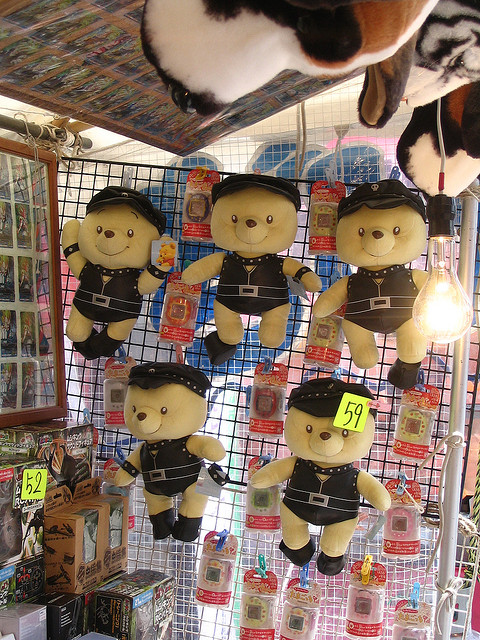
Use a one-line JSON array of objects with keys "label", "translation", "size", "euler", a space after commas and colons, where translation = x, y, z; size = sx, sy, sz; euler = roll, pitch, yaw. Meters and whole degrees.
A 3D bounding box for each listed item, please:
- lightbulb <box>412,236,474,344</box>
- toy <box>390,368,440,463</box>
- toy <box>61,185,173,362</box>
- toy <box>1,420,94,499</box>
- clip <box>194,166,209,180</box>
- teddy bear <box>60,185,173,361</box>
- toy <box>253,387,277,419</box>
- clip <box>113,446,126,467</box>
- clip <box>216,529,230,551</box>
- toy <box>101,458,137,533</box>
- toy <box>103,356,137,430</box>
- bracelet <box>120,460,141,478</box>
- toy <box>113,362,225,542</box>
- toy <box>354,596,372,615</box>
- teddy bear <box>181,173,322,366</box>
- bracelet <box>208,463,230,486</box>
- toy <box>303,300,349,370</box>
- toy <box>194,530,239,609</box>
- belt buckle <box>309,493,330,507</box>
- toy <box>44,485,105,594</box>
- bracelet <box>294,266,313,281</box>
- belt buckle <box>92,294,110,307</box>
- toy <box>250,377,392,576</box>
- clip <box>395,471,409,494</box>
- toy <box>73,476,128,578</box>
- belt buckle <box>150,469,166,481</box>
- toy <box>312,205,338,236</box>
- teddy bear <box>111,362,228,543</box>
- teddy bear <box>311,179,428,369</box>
[{"label": "lightbulb", "translation": [0.329, -0.046, 0.919], "size": [0.101, 0.187, 0.110], "euler": [2, 16, 15]}, {"label": "toy", "translation": [0.486, 0.268, 1.458], "size": [0.107, 0.255, 0.030], "euler": [8, -4, 44]}, {"label": "toy", "translation": [-0.372, -0.117, 1.566], "size": [0.344, 0.512, 0.208], "euler": [13, 4, 10]}, {"label": "toy", "translation": [-0.487, 0.351, 1.442], "size": [0.211, 0.174, 0.233], "euler": [6, 11, 24]}, {"label": "clip", "translation": [-0.113, -0.441, 1.596], "size": [0.045, 0.042, 0.014], "euler": [5, -8, 8]}, {"label": "teddy bear", "translation": [-0.372, -0.142, 1.561], "size": [0.379, 0.472, 0.202], "euler": [-13, -8, 25]}, {"label": "toy", "translation": [0.067, 0.238, 1.493], "size": [0.070, 0.076, 0.019], "euler": [0, -8, 14]}, {"label": "clip", "translation": [-0.373, 0.425, 1.655], "size": [0.019, 0.052, 0.043], "euler": [-11, 0, 5]}, {"label": "clip", "translation": [-0.051, 0.629, 1.524], "size": [0.018, 0.065, 0.025], "euler": [11, -32, 19]}, {"label": "toy", "translation": [-0.379, 0.534, 1.620], "size": [0.098, 0.220, 0.038], "euler": [9, -35, -31]}, {"label": "toy", "translation": [-0.372, 0.220, 1.679], "size": [0.087, 0.225, 0.108], "euler": [-15, 21, -42]}, {"label": "bracelet", "translation": [-0.312, 0.427, 1.522], "size": [0.050, 0.020, 0.040], "euler": [35, -4, 17]}, {"label": "toy", "translation": [-0.139, 0.348, 1.558], "size": [0.321, 0.486, 0.401], "euler": [-4, 16, 4]}, {"label": "toy", "translation": [0.327, 0.756, 1.403], "size": [0.050, 0.044, 0.025], "euler": [2, -11, 16]}, {"label": "teddy bear", "translation": [0.039, -0.137, 1.502], "size": [0.423, 0.508, 0.224], "euler": [3, 9, 13]}, {"label": "bracelet", "translation": [-0.062, 0.418, 1.455], "size": [0.056, 0.021, 0.045], "euler": [48, 7, 38]}, {"label": "toy", "translation": [0.256, 0.011, 1.535], "size": [0.104, 0.267, 0.103], "euler": [26, -19, -37]}, {"label": "toy", "translation": [-0.061, 0.717, 1.518], "size": [0.108, 0.196, 0.041], "euler": [-4, -25, 27]}, {"label": "belt buckle", "translation": [0.198, 0.450, 1.330], "size": [0.049, 0.034, 0.004], "euler": [-10, -8, 8]}, {"label": "toy", "translation": [-0.403, 0.550, 1.357], "size": [0.090, 0.221, 0.226], "euler": [-3, -13, 11]}, {"label": "bracelet", "translation": [0.181, -0.125, 1.462], "size": [0.034, 0.031, 0.033], "euler": [0, -28, 3]}, {"label": "belt buckle", "translation": [-0.392, -0.056, 1.508], "size": [0.061, 0.030, 0.014], "euler": [17, 2, 8]}, {"label": "toy", "translation": [0.224, 0.417, 1.393], "size": [0.370, 0.482, 0.196], "euler": [5, -5, 18]}, {"label": "clip", "translation": [0.450, 0.446, 1.473], "size": [0.021, 0.065, 0.027], "euler": [8, -6, 22]}, {"label": "toy", "translation": [-0.394, 0.561, 1.479], "size": [0.102, 0.276, 0.172], "euler": [2, -1, 36]}, {"label": "belt buckle", "translation": [-0.220, 0.419, 1.434], "size": [0.043, 0.027, 0.008], "euler": [-12, -8, 23]}, {"label": "toy", "translation": [0.239, -0.277, 1.500], "size": [0.075, 0.078, 0.025], "euler": [1, -4, 12]}, {"label": "teddy bear", "translation": [-0.201, 0.363, 1.496], "size": [0.356, 0.477, 0.239], "euler": [-9, -13, 28]}, {"label": "teddy bear", "translation": [0.376, -0.137, 1.448], "size": [0.288, 0.450, 0.337], "euler": [3, 19, 21]}]
